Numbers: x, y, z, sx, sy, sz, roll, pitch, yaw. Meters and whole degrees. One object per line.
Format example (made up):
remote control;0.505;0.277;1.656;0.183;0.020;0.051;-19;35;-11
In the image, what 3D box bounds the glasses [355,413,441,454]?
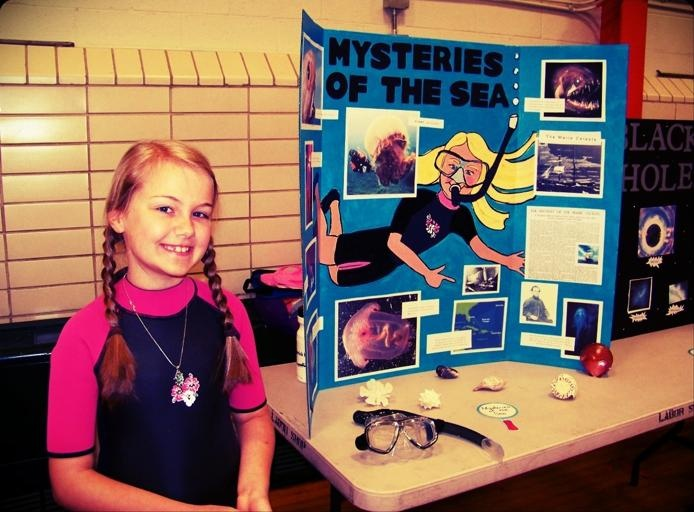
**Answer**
glasses;0.138;0.512;1.704;0.231;0.080;0.076;-3;9;-9
